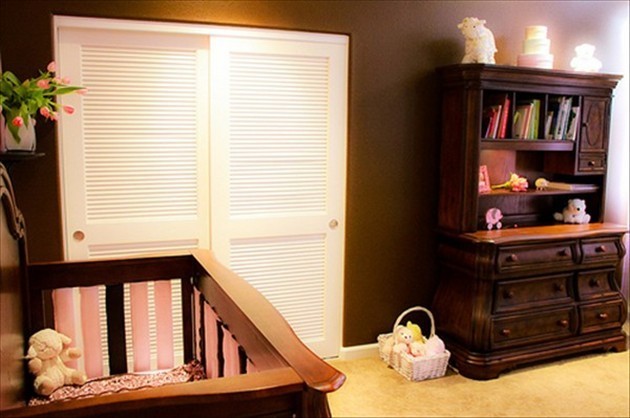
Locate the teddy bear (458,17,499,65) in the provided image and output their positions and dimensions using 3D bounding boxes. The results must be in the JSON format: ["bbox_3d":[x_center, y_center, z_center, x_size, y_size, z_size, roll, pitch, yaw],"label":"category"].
[{"bbox_3d":[1.325,-1.342,3.884,0.368,0.368,0.271,-19,22,-41],"label":"teddy bear"}]

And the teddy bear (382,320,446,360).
[{"bbox_3d":[0.797,1.037,3.852,0.233,0.187,0.370,0,0,-11],"label":"teddy bear"}]

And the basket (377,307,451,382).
[{"bbox_3d":[0.812,1.057,3.973,0.416,0.503,0.600,2,4,-16],"label":"basket"}]

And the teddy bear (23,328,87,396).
[{"bbox_3d":[-1.389,0.804,2.544,0.239,0.309,0.280,-10,-6,18],"label":"teddy bear"}]

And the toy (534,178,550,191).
[{"bbox_3d":[2.034,-0.222,4.320,0.128,0.099,0.105,-10,27,3],"label":"toy"}]

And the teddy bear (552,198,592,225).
[{"bbox_3d":[2.315,0.024,4.287,0.253,0.157,0.243,2,1,7],"label":"teddy bear"}]

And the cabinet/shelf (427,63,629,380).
[{"bbox_3d":[1.787,0.049,4.071,1.604,2.458,0.639,-5,9,-18],"label":"cabinet/shelf"}]

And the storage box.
[{"bbox_3d":[0.798,1.062,3.976,0.392,0.483,0.574,4,4,-22],"label":"storage box"}]
